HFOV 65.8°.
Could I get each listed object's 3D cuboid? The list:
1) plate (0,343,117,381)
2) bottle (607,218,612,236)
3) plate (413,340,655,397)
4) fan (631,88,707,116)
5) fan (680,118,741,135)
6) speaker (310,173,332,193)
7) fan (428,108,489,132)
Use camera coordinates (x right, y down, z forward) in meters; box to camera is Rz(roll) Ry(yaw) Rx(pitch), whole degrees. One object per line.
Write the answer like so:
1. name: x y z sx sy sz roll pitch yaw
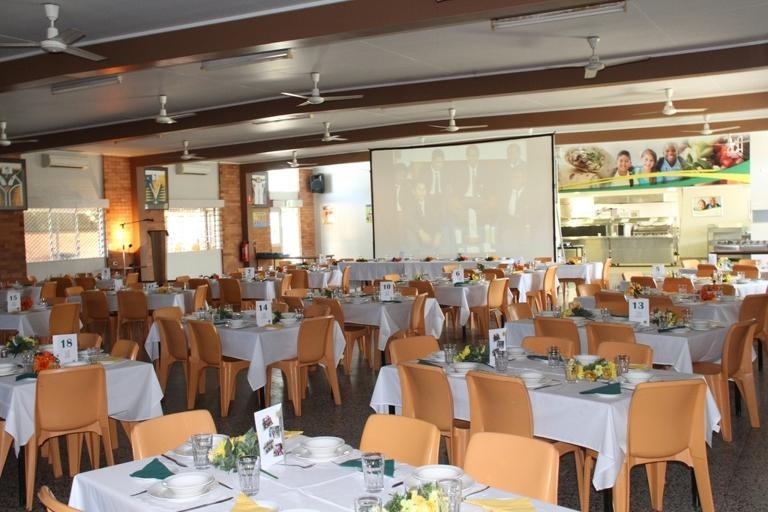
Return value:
1. plate: -2.802 0.842 5.018 0.955 0.194 0.804 1 2 39
2. bottle: 7.260 -0.867 19.139 0.174 0.416 0.284 0 2 15
3. plate: 1.268 0.790 4.464 1.340 0.197 1.089 0 2 28
4. fan: 5.294 -2.719 10.724 1.041 0.368 0.924 2 7 26
5. fan: 7.586 -2.925 13.801 0.850 0.279 0.820 -6 6 -36
6. speaker: -2.138 -2.553 20.630 0.755 0.691 0.393 1 -1 26
7. fan: 1.595 -2.765 12.187 1.044 0.507 2.055 0 1 9
